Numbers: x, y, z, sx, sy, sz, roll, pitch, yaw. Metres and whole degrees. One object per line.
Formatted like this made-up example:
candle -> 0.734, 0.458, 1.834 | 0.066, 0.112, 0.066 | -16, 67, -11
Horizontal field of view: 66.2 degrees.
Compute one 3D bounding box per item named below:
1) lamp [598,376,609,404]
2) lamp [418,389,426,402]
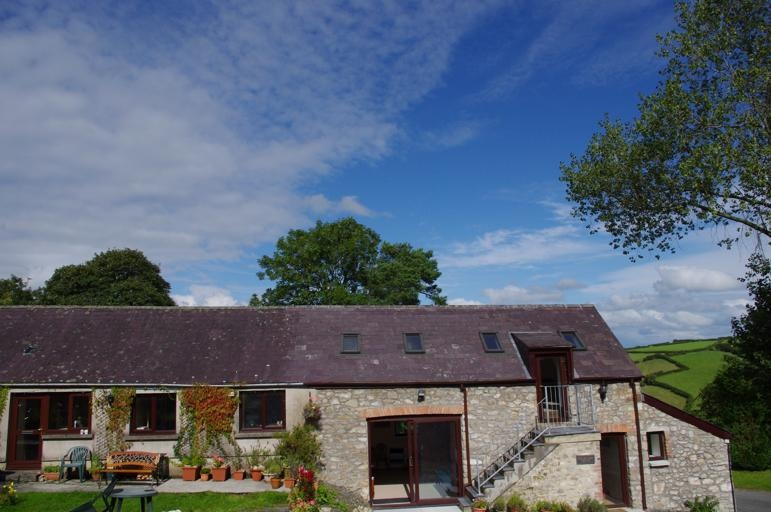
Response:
lamp -> 10.849, 6.745, 29.433 | 0.456, 1.113, 0.413 | 0, -18, -17
lamp -> 1.714, 6.787, 28.595 | 0.438, 0.634, 0.278 | -4, -17, -4
